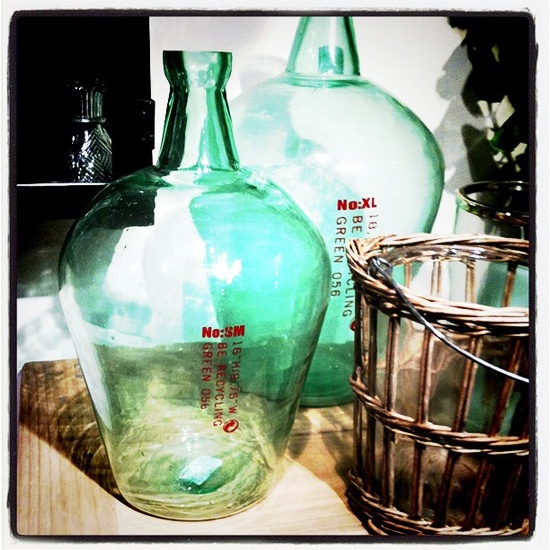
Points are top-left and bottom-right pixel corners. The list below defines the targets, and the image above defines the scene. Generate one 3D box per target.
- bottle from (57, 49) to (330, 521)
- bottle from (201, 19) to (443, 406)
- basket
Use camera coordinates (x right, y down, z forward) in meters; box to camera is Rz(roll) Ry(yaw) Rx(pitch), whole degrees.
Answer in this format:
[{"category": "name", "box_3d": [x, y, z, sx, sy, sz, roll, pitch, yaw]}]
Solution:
[{"category": "bottle", "box_3d": [-0.067, 0.015, 0.623, 0.228, 0.406, 0.079, -3, 11, -17]}, {"category": "bottle", "box_3d": [0.053, -0.097, 0.815, 0.254, 0.452, 0.258, 2, 8, 0]}, {"category": "basket", "box_3d": [0.154, 0.106, 0.664, 0.178, 0.274, 0.204, 1, 10, 6]}]
